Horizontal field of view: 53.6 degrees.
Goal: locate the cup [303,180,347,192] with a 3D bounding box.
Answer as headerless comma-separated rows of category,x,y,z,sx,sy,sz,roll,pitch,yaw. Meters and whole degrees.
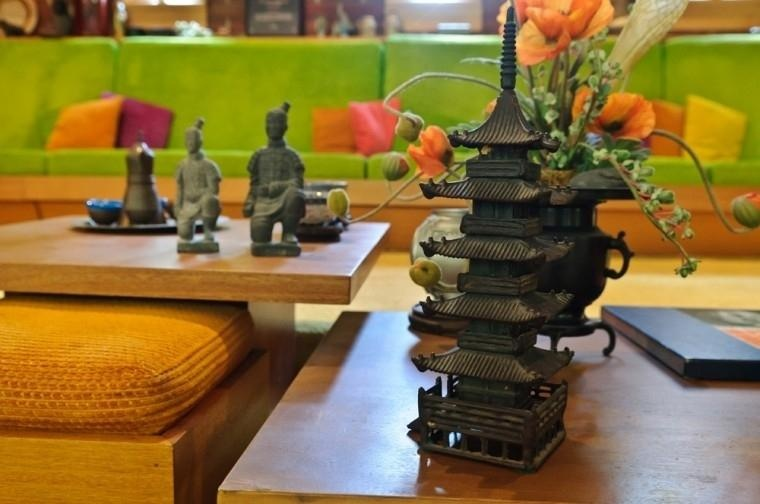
cup,-0.148,-0.168,1.943,0.144,0.036,0.036,3,4,8

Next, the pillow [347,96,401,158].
pillow,-0.024,-0.644,4.060,0.333,0.370,0.173,-4,0,-20

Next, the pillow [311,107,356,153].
pillow,-0.266,-0.674,4.122,0.280,0.250,0.091,-6,12,-23

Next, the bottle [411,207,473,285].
bottle,0.148,-0.014,1.807,0.184,0.194,0.166,-5,7,-40

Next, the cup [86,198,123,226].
cup,-0.751,-0.099,2.039,0.088,0.056,0.085,0,-1,0

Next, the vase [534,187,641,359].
vase,0.419,0.049,1.716,0.296,0.391,0.259,1,3,31

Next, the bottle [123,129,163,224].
bottle,-0.637,-0.195,1.992,0.104,0.241,0.137,-5,16,-16

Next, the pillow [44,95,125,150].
pillow,-1.567,-0.671,3.994,0.341,0.301,0.099,6,10,-22
